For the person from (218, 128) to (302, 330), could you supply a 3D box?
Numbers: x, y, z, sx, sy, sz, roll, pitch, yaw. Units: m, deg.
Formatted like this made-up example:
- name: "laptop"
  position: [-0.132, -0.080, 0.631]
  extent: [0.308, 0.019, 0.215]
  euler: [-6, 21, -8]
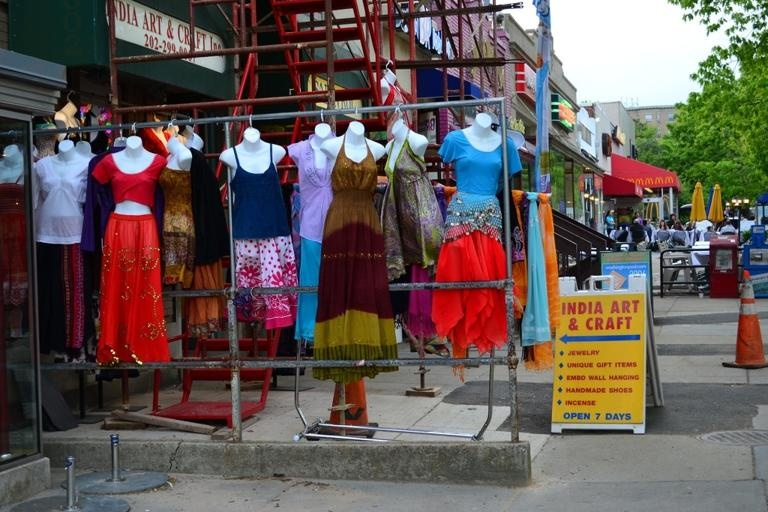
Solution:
- name: "person"
  position: [-1.320, -0.309, 10.872]
  extent: [0.807, 2.212, 0.896]
  euler: [-1, -2, -1]

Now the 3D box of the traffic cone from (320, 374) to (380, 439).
- name: "traffic cone"
  position: [-0.374, 1.693, 11.009]
  extent: [0.769, 0.737, 0.462]
  euler: [-1, -1, 13]

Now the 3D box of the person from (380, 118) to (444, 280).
- name: "person"
  position: [0.357, -0.602, 10.741]
  extent: [0.650, 1.697, 0.780]
  euler: [0, 0, 8]
